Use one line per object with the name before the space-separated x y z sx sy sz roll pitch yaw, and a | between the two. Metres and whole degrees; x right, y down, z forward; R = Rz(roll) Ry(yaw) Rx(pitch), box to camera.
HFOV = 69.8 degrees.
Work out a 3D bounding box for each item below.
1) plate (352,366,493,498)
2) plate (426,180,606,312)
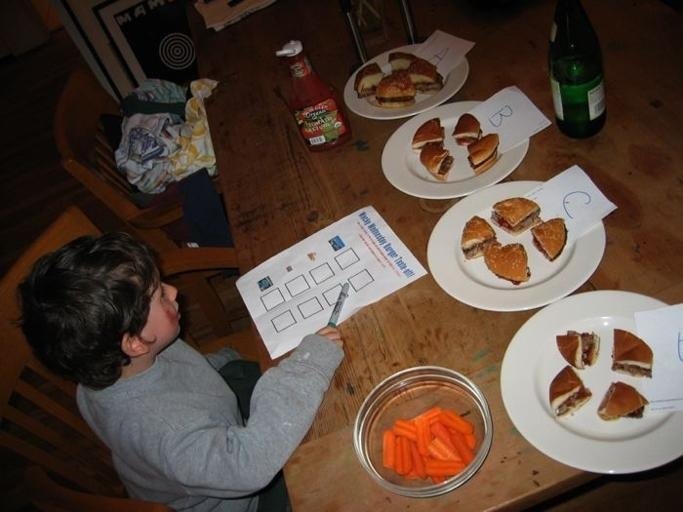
plate | 0.158 0.339 0.962 0.269 0.061 0.243 -28 62 -4
plate | 0.380 -0.024 1.107 0.352 0.051 0.342 -41 63 -10
